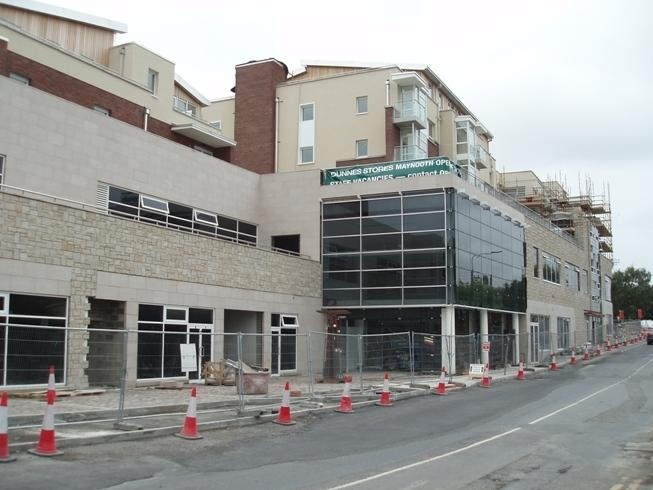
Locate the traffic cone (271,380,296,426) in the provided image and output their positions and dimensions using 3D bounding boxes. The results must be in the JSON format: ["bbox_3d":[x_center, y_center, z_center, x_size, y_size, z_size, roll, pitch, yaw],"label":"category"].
[{"bbox_3d":[-1.196,4.775,21.209,0.916,1.273,0.932,5,-9,-17],"label":"traffic cone"}]

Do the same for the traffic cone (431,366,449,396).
[{"bbox_3d":[4.829,5.794,29.621,0.949,1.387,0.983,3,-11,-4],"label":"traffic cone"}]

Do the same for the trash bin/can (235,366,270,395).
[{"bbox_3d":[-2.787,5.062,25.925,1.329,0.950,1.070,2,-4,-18],"label":"trash bin/can"}]
